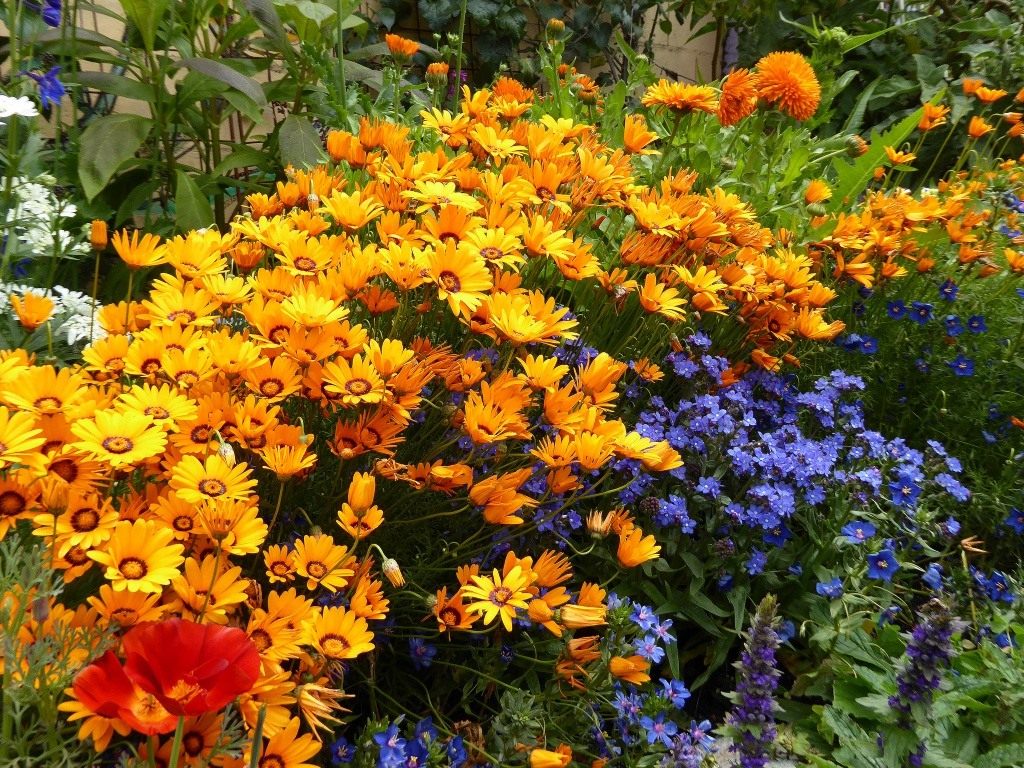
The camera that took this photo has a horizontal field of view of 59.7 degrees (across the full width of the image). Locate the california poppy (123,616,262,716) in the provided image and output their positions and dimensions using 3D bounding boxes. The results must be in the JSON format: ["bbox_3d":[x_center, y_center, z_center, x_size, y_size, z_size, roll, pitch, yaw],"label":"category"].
[{"bbox_3d":[-0.452,0.392,1.255,0.143,0.083,0.160,17,21,10],"label":"california poppy"}]
